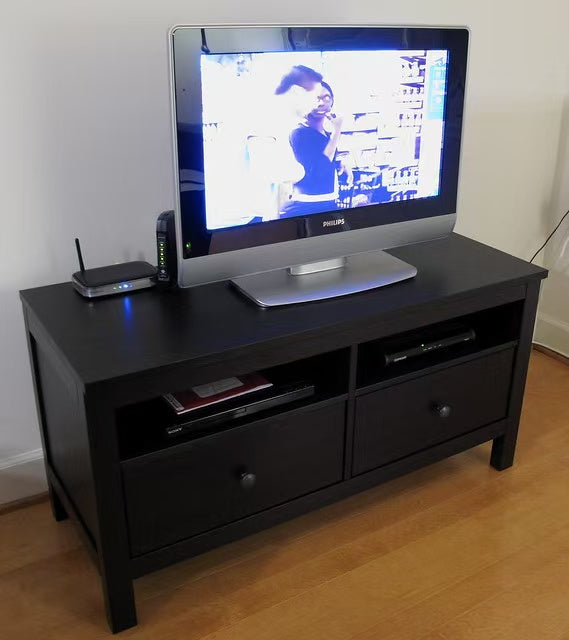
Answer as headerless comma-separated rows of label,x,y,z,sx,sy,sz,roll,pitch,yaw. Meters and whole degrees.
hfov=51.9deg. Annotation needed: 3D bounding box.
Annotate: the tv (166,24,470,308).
tv,0.061,-0.346,1.300,0.640,0.472,0.184,-16,35,-26
